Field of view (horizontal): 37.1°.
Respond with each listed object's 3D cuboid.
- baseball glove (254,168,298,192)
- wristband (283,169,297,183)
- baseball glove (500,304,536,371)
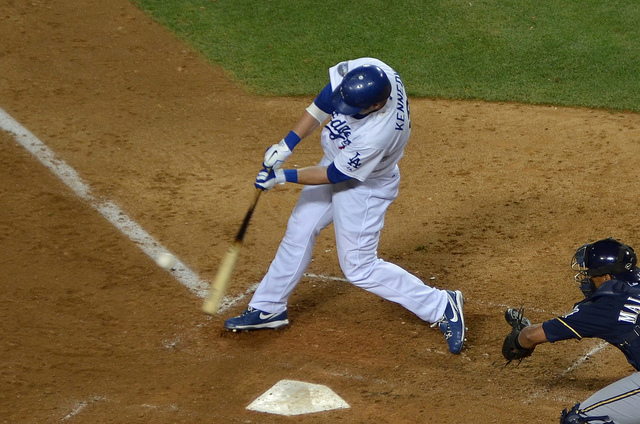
[{"bbox_3d":[-0.476,-0.350,10.428,0.441,0.222,0.162,11,33,-8],"label":"baseball glove"},{"bbox_3d":[-0.334,-0.378,10.389,0.154,0.126,0.139,4,53,-6],"label":"wristband"},{"bbox_3d":[2.088,1.362,10.373,0.311,0.355,0.691,20,59,-1],"label":"baseball glove"}]
